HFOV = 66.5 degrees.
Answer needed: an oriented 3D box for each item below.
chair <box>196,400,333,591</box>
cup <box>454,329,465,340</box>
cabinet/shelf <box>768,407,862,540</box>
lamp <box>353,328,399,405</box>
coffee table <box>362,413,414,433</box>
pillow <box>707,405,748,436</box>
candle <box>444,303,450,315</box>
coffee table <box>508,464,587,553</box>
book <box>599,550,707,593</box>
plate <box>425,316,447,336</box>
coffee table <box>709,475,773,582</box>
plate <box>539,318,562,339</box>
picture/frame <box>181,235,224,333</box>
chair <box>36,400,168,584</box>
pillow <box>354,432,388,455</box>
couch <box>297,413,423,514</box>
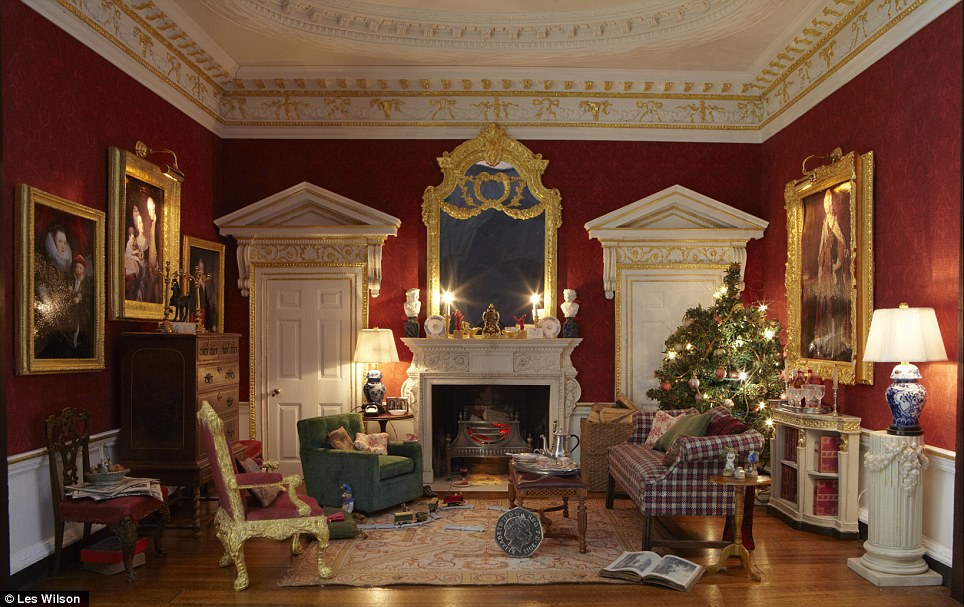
[{"bbox_3d":[-2.747,2.298,9.702,2.031,2.742,1.875,1,-4,-17],"label":"chair"},{"bbox_3d":[-0.357,0.498,11.790,0.160,0.113,0.118,0,-1,-4],"label":"cup"},{"bbox_3d":[4.450,2.251,9.753,0.626,1.578,1.677,2,-2,-7],"label":"cabinet/shelf"},{"bbox_3d":[-1.665,0.988,11.604,0.648,1.214,0.602,-2,9,-10],"label":"lamp"},{"bbox_3d":[-1.443,1.798,11.465,0.478,0.260,0.478,1,-2,12],"label":"coffee table"},{"bbox_3d":[3.139,1.541,9.591,0.408,0.140,0.466,2,8,3],"label":"pillow"},{"bbox_3d":[-0.558,0.095,12.020,0.108,0.166,0.044,-1,9,-3],"label":"candle"},{"bbox_3d":[0.843,2.448,9.434,0.871,0.812,1.689,1,-5,-2],"label":"coffee table"},{"bbox_3d":[1.976,3.079,8.582,1.150,0.197,0.482,2,8,15],"label":"book"},{"bbox_3d":[-0.729,0.357,11.871,0.355,0.324,0.195,-1,9,-7],"label":"plate"},{"bbox_3d":[3.086,2.583,8.831,0.612,1.126,0.721,4,9,22],"label":"coffee table"},{"bbox_3d":[1.085,0.377,11.792,0.313,0.324,0.177,-1,9,-4],"label":"plate"},{"bbox_3d":[-4.301,-0.286,11.463,0.463,1.541,1.191,-2,9,-10],"label":"picture/frame"},{"bbox_3d":[-4.600,2.320,9.789,1.655,2.689,1.886,-1,-2,4],"label":"chair"},{"bbox_3d":[-1.590,2.026,10.757,0.348,0.132,0.349,13,-4,10],"label":"pillow"},{"bbox_3d":[-1.742,2.272,10.857,1.497,1.437,1.405,-4,-6,26],"label":"couch"}]
